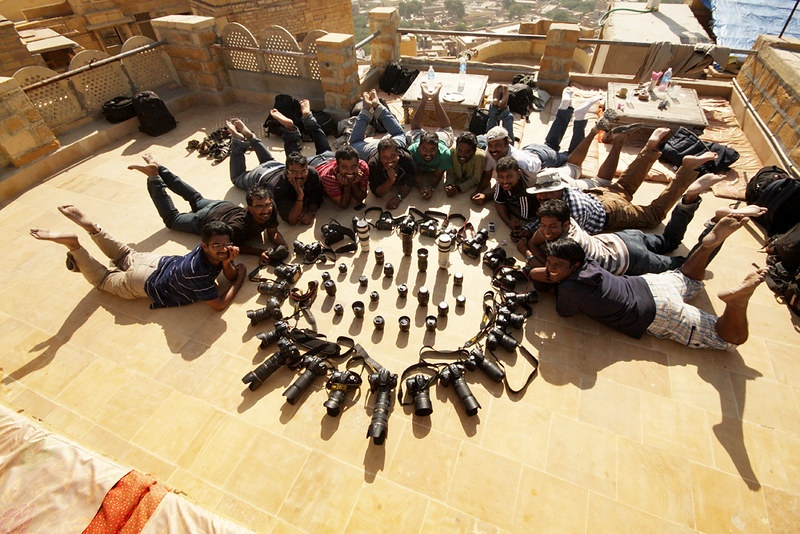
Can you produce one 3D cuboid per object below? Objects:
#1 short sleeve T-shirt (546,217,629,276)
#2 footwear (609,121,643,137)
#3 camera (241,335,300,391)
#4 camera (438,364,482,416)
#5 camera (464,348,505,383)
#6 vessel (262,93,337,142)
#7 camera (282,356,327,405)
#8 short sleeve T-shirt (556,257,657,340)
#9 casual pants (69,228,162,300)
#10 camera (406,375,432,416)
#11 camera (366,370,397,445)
[{"bbox_3d":[2.722,-0.142,5.915,0.920,0.343,0.739,36,29,3],"label":"short sleeve T-shirt"},{"bbox_3d":[4.225,-2.581,7.809,0.632,0.144,0.604,-20,23,-12],"label":"footwear"},{"bbox_3d":[-1.687,1.248,5.594,0.463,0.362,0.858,46,61,5],"label":"camera"},{"bbox_3d":[0.746,1.519,5.346,0.408,0.267,0.675,-8,43,-19],"label":"camera"},{"bbox_3d":[1.148,1.311,5.546,0.341,0.196,0.499,-34,70,-26],"label":"camera"},{"bbox_3d":[-2.096,-3.083,9.223,1.532,0.541,0.950,15,64,5],"label":"vessel"},{"bbox_3d":[-1.230,1.500,5.520,0.387,0.260,0.665,26,52,19],"label":"camera"},{"bbox_3d":[2.821,0.314,5.723,1.394,0.613,0.787,19,47,3],"label":"short sleeve T-shirt"},{"bbox_3d":[-4.180,0.021,6.163,1.438,0.590,0.815,14,61,-3],"label":"casual pants"},{"bbox_3d":[0.231,1.619,5.280,0.329,0.301,0.510,0,51,-2],"label":"camera"},{"bbox_3d":[-0.231,1.705,5.167,0.371,0.297,0.840,17,50,-11],"label":"camera"}]
